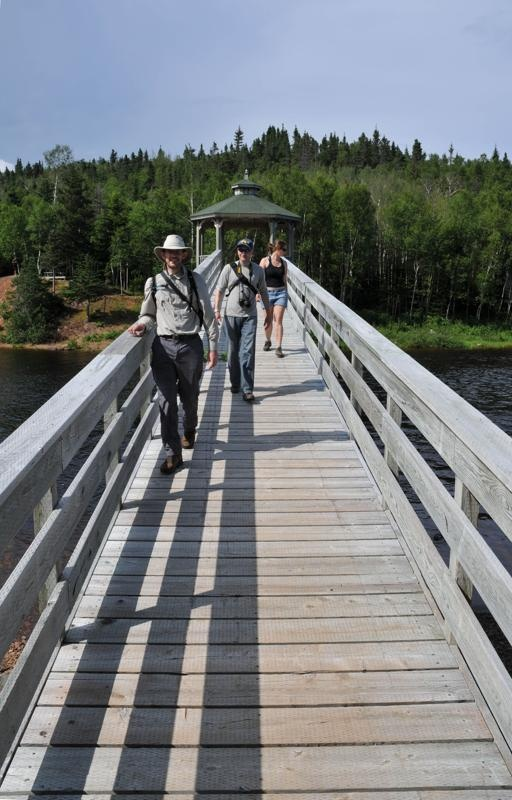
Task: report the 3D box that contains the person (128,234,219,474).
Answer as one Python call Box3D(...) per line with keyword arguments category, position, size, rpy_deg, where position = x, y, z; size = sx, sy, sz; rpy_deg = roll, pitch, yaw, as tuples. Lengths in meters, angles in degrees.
Box3D(category="person", position=(-0.568, -0.315, 4.049), size=(0.397, 1.617, 0.690), rpy_deg=(4, 10, 23))

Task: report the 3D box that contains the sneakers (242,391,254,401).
Box3D(category="sneakers", position=(-0.090, -0.036, 6.109), size=(0.071, 0.078, 0.146), rpy_deg=(-1, 9, 2))

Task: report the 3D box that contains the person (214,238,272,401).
Box3D(category="person", position=(-0.154, -0.882, 6.262), size=(0.590, 1.719, 0.935), rpy_deg=(0, 10, -1))

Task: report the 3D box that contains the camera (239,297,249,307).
Box3D(category="camera", position=(-0.126, -1.019, 5.930), size=(0.087, 0.089, 0.090), rpy_deg=(13, 25, 27))

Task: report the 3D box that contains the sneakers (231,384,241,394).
Box3D(category="sneakers", position=(-0.242, -0.127, 6.506), size=(0.084, 0.115, 0.243), rpy_deg=(-1, -4, -1))

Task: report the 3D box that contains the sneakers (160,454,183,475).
Box3D(category="sneakers", position=(-0.596, 0.457, 4.051), size=(0.074, 0.126, 0.233), rpy_deg=(0, 2, 12))

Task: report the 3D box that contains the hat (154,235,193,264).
Box3D(category="hat", position=(-0.582, -1.082, 3.915), size=(0.208, 0.116, 0.256), rpy_deg=(-2, -19, -8))

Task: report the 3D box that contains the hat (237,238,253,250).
Box3D(category="hat", position=(-0.120, -1.629, 5.976), size=(0.161, 0.143, 0.380), rpy_deg=(0, 11, -2))
